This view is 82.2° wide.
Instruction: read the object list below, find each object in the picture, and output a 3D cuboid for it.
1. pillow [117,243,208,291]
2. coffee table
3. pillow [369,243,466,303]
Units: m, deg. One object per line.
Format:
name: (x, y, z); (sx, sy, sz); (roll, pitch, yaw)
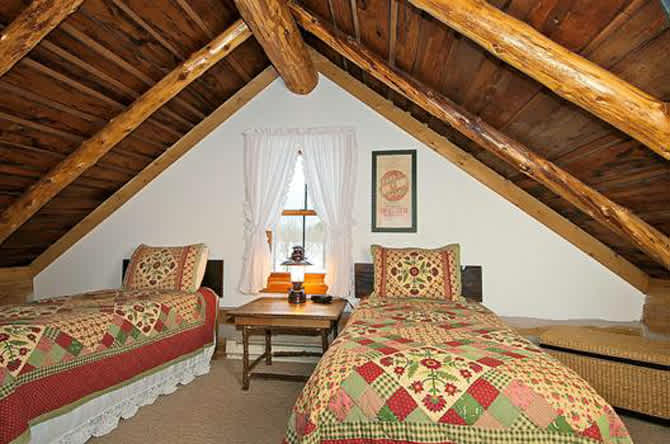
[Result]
pillow: (-1.736, 0.448, 3.967); (1.000, 0.526, 0.248); (-2, -28, 18)
coffee table: (-0.420, 1.188, 3.768); (1.064, 0.617, 1.135); (-5, -10, 9)
pillow: (0.699, 0.491, 3.640); (0.928, 0.535, 0.231); (2, -13, -22)
